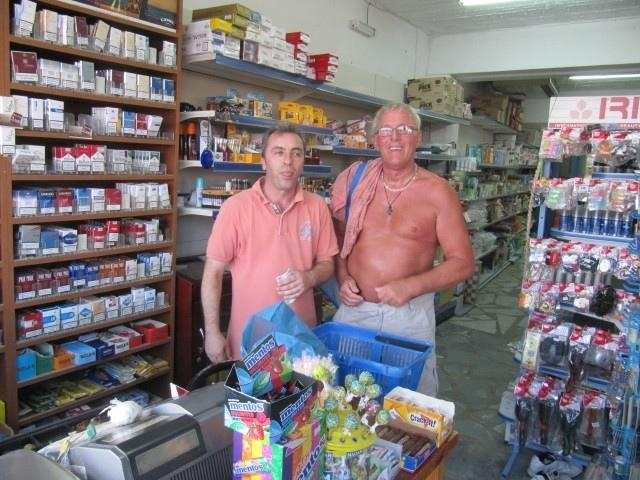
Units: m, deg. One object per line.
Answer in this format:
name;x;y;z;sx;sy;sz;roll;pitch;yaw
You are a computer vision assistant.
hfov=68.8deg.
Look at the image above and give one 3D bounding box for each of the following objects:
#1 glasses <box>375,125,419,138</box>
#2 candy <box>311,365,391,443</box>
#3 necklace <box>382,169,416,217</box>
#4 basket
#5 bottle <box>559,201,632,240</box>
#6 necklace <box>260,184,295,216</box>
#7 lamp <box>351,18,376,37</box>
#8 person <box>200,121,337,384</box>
glasses;0.418;-0.592;2.540;0.199;0.066;0.077;2;11;-2
candy;0.102;0.508;1.499;0.210;0.119;0.195;3;3;-31
necklace;0.442;-0.275;2.672;0.168;0.272;0.050;11;0;32
basket;0.193;0.466;1.942;0.421;0.144;0.306;6;9;40
bottle;2.030;-0.154;3.402;0.275;0.241;0.103;6;-1;20
necklace;-0.247;-0.228;2.608;0.172;0.128;0.179;1;10;-7
lamp;0.549;-2.538;5.610;0.122;0.154;0.602;10;13;30
person;-0.295;0.037;2.602;0.650;1.319;0.640;7;12;20
